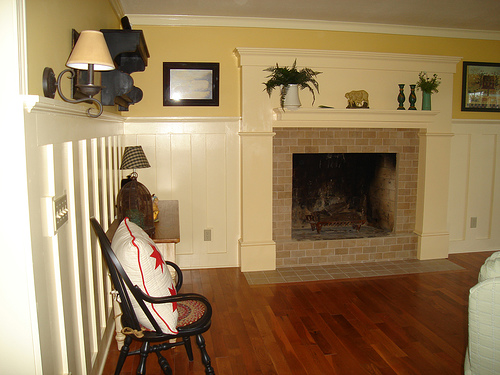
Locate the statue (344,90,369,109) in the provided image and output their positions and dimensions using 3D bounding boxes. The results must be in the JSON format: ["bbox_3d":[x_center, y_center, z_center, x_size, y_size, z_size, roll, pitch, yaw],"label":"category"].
[{"bbox_3d":[1.173,-0.967,4.270,0.344,0.253,0.193,1,16,8],"label":"statue"}]

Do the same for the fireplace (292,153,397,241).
[{"bbox_3d":[1.146,-0.023,5.208,1.545,1.331,0.530,18,26,37],"label":"fireplace"}]

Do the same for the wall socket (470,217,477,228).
[{"bbox_3d":[2.858,0.451,4.941,0.093,0.132,0.025,-4,13,-15],"label":"wall socket"}]

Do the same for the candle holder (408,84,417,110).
[{"bbox_3d":[1.867,-1.034,4.423,0.089,0.286,0.261,5,13,22],"label":"candle holder"}]

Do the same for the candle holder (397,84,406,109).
[{"bbox_3d":[1.715,-1.027,4.378,0.076,0.271,0.143,4,13,20],"label":"candle holder"}]

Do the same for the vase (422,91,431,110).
[{"bbox_3d":[2.022,-0.989,4.418,0.080,0.202,0.065,4,13,18],"label":"vase"}]

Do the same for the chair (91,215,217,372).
[{"bbox_3d":[-0.579,0.748,2.500,0.712,1.208,0.637,-2,13,-10],"label":"chair"}]

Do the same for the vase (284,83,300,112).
[{"bbox_3d":[0.442,-0.940,4.042,0.210,0.301,0.217,0,8,-1],"label":"vase"}]

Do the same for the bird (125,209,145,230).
[{"bbox_3d":[-0.847,0.245,2.870,0.131,0.138,0.119,3,3,40],"label":"bird"}]

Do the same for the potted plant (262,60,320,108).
[{"bbox_3d":[0.439,-1.027,4.161,0.522,0.392,0.536,1,6,-8],"label":"potted plant"}]
